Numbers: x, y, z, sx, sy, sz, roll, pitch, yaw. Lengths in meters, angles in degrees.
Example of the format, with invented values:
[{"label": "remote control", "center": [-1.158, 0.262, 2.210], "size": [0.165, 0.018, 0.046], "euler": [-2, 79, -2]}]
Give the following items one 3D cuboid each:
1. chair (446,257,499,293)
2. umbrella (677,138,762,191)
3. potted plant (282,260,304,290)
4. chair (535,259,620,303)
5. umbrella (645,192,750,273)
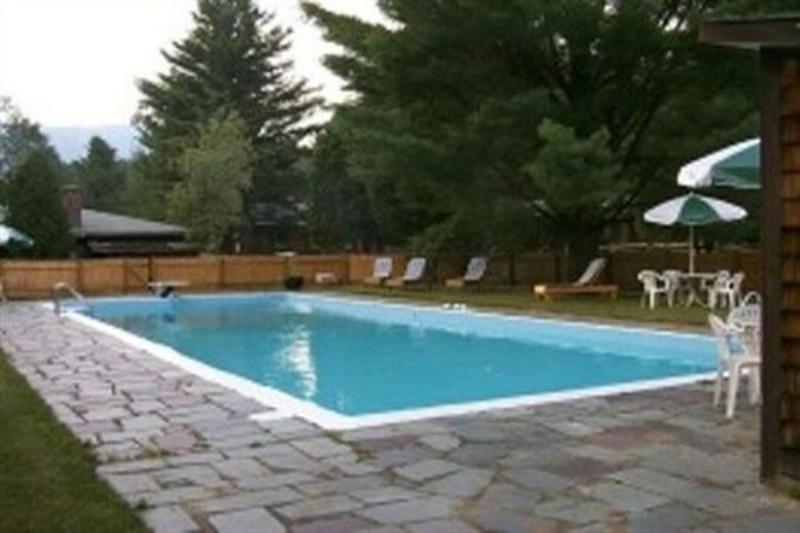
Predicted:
[{"label": "chair", "center": [2.762, 0.267, 23.686], "size": [1.522, 1.328, 2.774], "euler": [1, 2, 18]}, {"label": "umbrella", "center": [4.183, -1.296, 7.932], "size": [0.816, 0.532, 2.043], "euler": [1, 2, 28]}, {"label": "potted plant", "center": [-4.656, 0.391, 26.944], "size": [1.445, 1.383, 1.236], "euler": [-1, -3, -3]}, {"label": "chair", "center": [5.452, 0.436, 18.950], "size": [2.240, 1.036, 1.124], "euler": [-4, 3, 0]}, {"label": "umbrella", "center": [7.851, -0.990, 15.981], "size": [2.737, 2.069, 2.699], "euler": [1, -2, -43]}]
